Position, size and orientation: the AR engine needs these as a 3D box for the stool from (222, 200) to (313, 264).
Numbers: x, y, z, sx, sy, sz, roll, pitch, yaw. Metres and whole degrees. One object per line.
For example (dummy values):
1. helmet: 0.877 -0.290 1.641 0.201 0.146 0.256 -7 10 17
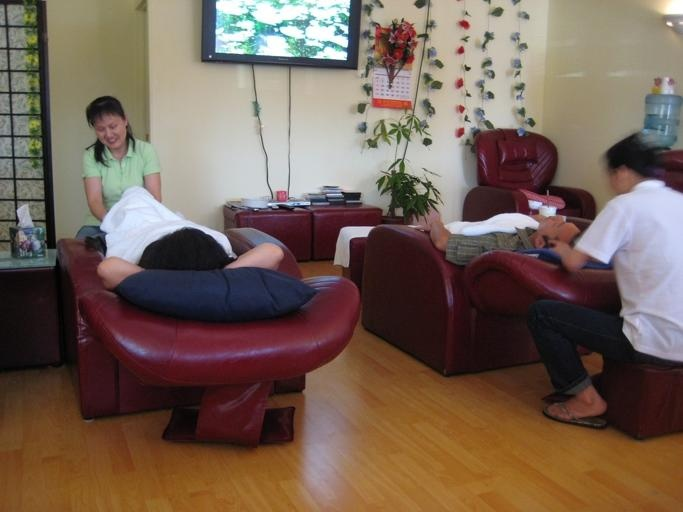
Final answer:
1. stool: -0.591 -0.272 4.885 0.584 0.448 0.592 -2 8 -26

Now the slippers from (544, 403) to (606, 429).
1. slippers: 1.035 0.694 2.338 0.223 0.062 0.081 3 5 18

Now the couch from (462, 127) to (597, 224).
1. couch: 1.984 -0.869 5.431 1.183 1.262 1.058 -4 9 -24

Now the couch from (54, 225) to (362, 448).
1. couch: -0.657 0.298 2.219 0.755 0.453 1.031 -2 10 -28

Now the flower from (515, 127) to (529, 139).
1. flower: 1.893 -1.288 5.559 0.093 0.048 0.122 21 25 5

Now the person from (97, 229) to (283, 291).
1. person: -0.630 0.075 2.443 0.760 0.294 0.576 -7 11 -8

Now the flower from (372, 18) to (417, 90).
1. flower: 0.552 -2.015 5.324 0.450 0.618 0.230 -3 16 -3

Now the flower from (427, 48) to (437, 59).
1. flower: 0.933 -2.090 5.474 0.102 0.105 0.098 3 9 -18

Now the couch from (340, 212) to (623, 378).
1. couch: 0.739 0.142 2.763 0.928 0.597 0.932 -2 19 -29
